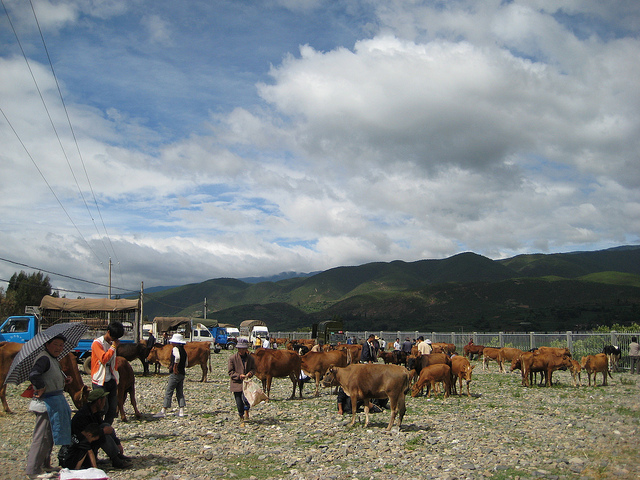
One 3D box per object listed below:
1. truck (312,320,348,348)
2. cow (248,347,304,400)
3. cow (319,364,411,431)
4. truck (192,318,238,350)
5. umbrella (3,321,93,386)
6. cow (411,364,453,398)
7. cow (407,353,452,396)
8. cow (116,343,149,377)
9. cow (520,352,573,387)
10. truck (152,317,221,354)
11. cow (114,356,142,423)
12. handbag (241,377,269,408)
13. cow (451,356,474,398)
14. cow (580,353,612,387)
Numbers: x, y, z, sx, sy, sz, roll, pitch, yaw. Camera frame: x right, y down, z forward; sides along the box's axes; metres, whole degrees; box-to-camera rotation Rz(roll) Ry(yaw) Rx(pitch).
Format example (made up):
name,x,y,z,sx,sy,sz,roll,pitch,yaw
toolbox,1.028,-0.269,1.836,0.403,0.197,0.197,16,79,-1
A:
name,x,y,z,sx,sy,sz,roll,pitch,yaw
truck,1.568,11.213,58.208,2.450,3.628,6.877,1,-8,-16
cow,-1.763,5.178,18.431,1.070,1.839,3.321,-17,-23,39
cow,1.464,4.659,14.383,1.143,1.865,2.426,9,-13,-37
truck,-13.188,11.455,58.190,5.340,3.162,2.987,8,-8,-26
umbrella,-6.280,2.531,10.818,1.125,1.342,1.321,1,-10,1
cow,4.702,5.717,19.493,1.625,1.347,1.243,11,-14,-43
cow,4.672,5.593,20.601,2.373,1.639,0.918,2,-4,-27
cow,-10.082,6.103,24.569,0.650,1.534,2.748,-16,-22,33
cow,10.641,5.983,22.325,2.366,1.484,0.610,1,-5,2
truck,-14.688,10.766,55.574,8.631,4.589,4.223,-1,-3,25
cow,-6.090,4.542,14.982,0.757,1.931,2.676,-4,-9,-24
handbag,-2.169,4.515,14.361,0.764,0.943,0.455,-8,-12,-1
cow,6.218,5.839,20.823,0.805,1.612,3.303,-2,-11,17
cow,13.140,6.096,22.627,2.530,1.454,0.646,4,-12,-30
